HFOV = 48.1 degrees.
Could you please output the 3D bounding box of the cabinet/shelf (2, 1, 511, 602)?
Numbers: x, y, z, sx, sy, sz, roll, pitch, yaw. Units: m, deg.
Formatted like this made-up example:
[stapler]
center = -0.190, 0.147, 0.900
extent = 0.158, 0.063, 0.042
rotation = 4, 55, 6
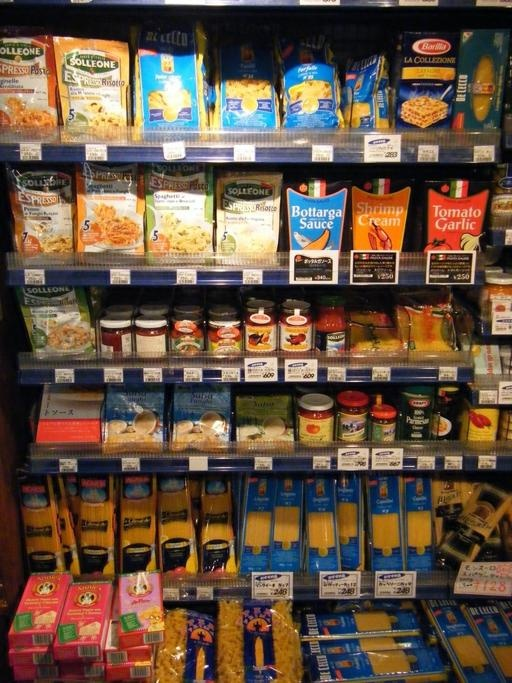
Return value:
[cabinet/shelf]
center = -0.021, -0.177, 2.179
extent = 2.329, 0.768, 2.183
rotation = -1, -78, -3
